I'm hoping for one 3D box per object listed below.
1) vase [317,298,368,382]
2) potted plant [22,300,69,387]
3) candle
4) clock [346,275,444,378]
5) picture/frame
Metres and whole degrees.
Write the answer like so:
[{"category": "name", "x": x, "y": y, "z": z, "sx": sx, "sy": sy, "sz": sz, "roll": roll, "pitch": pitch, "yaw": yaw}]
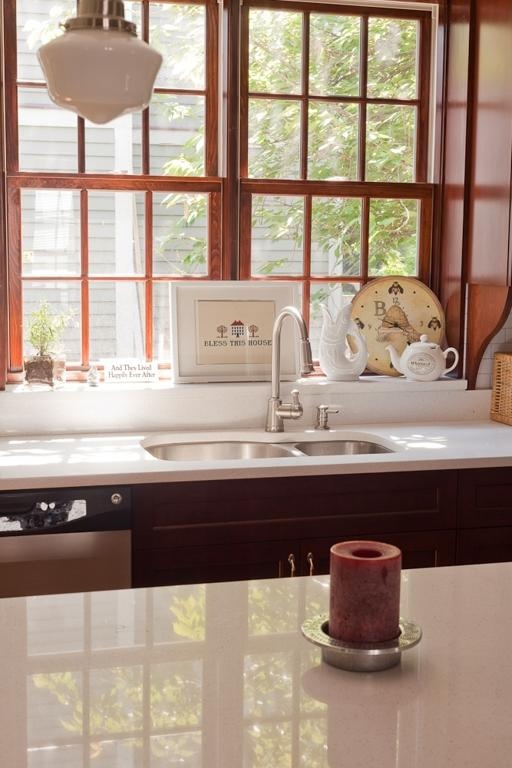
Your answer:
[{"category": "vase", "x": 0.366, "y": -0.198, "z": 2.886, "sx": 0.195, "sy": 0.369, "sz": 0.281, "roll": 2, "pitch": 2, "yaw": 6}, {"category": "potted plant", "x": -0.795, "y": -0.150, "z": 2.626, "sx": 0.135, "sy": 0.307, "sz": 0.214, "roll": 1, "pitch": 2, "yaw": 1}, {"category": "candle", "x": 0.114, "y": 0.232, "z": 0.792, "sx": 0.097, "sy": 0.106, "sz": 0.096, "roll": 0, "pitch": 3, "yaw": -8}, {"category": "clock", "x": 0.595, "y": -0.227, "z": 2.918, "sx": 0.459, "sy": 0.444, "sz": 0.046, "roll": -1, "pitch": 1, "yaw": -5}, {"category": "picture/frame", "x": -0.087, "y": -0.194, "z": 2.696, "sx": 0.422, "sy": 0.337, "sz": 0.033, "roll": -1, "pitch": 2, "yaw": -13}]
